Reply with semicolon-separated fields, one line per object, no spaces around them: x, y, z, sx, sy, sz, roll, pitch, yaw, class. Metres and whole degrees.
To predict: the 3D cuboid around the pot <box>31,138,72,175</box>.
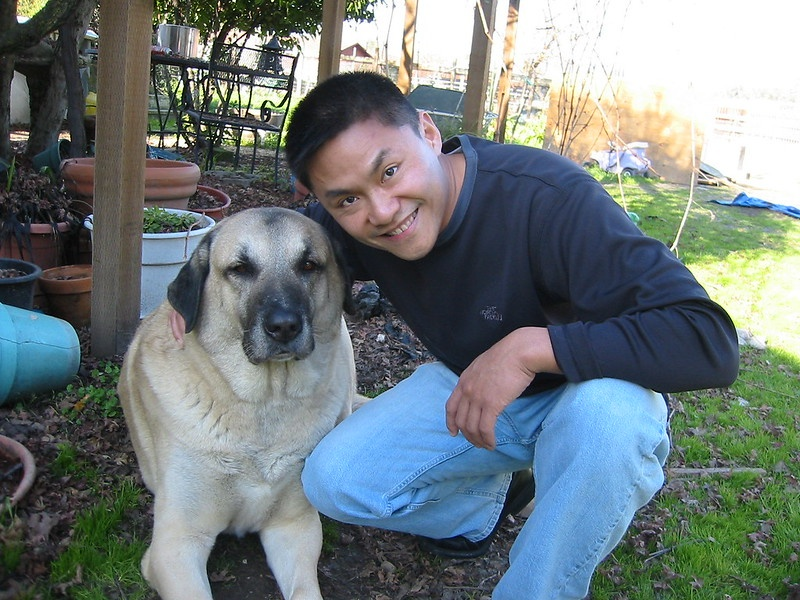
-3.791;-1.589;6.382;0.353;0.300;0.734;-2;19;-33;pot

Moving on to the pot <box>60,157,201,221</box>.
-2.318;-1.048;5.105;0.752;0.592;0.766;7;0;0;pot

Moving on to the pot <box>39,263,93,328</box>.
-2.424;-0.069;4.419;0.422;0.410;0.450;2;17;-1;pot
